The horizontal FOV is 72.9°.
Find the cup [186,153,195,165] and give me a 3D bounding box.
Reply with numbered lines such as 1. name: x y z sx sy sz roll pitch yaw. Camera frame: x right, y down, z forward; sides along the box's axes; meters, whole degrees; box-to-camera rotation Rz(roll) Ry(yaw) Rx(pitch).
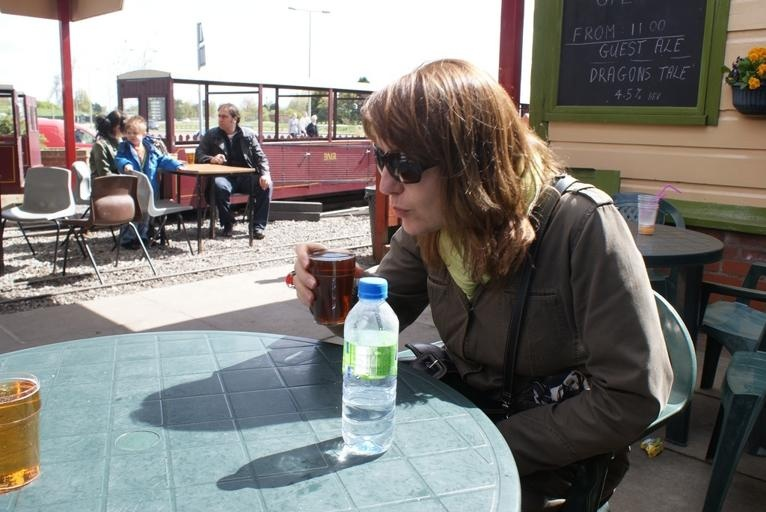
1. cup: -3.373 -1.702 9.066 0.106 0.198 0.325 -2 13 -15

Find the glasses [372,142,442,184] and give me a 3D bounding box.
1. glasses: 0.067 -0.302 1.709 0.124 0.051 0.148 21 16 26

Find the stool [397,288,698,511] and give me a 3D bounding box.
1. stool: 0.716 0.398 2.268 0.807 1.034 0.776 3 16 -26

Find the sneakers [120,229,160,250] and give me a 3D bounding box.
1. sneakers: -3.857 -0.259 8.164 0.253 0.185 0.625 0 11 5

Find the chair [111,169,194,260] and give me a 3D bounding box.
1. chair: -3.454 -0.679 7.962 1.350 1.656 1.099 -8 18 -33
